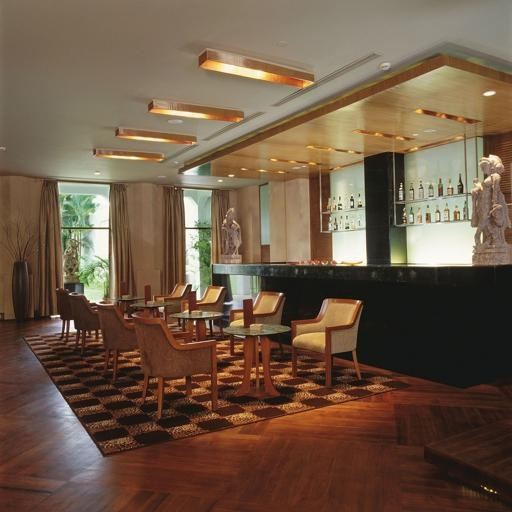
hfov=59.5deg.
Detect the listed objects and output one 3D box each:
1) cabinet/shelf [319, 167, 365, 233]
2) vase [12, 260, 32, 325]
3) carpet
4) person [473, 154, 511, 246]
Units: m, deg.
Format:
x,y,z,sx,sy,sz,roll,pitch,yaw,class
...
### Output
x,y,z,sx,sy,sz,roll,pitch,yaw,class
1.811,-1.166,9.246,0.480,1.296,1.467,1,-2,-27,cabinet/shelf
-5.383,0.794,10.355,0.366,1.522,0.627,-2,0,-27,vase
-0.636,1.365,5.306,3.063,0.055,3.541,-1,0,-31,carpet
2.429,-0.591,4.700,0.410,0.748,0.393,-2,0,-35,person
